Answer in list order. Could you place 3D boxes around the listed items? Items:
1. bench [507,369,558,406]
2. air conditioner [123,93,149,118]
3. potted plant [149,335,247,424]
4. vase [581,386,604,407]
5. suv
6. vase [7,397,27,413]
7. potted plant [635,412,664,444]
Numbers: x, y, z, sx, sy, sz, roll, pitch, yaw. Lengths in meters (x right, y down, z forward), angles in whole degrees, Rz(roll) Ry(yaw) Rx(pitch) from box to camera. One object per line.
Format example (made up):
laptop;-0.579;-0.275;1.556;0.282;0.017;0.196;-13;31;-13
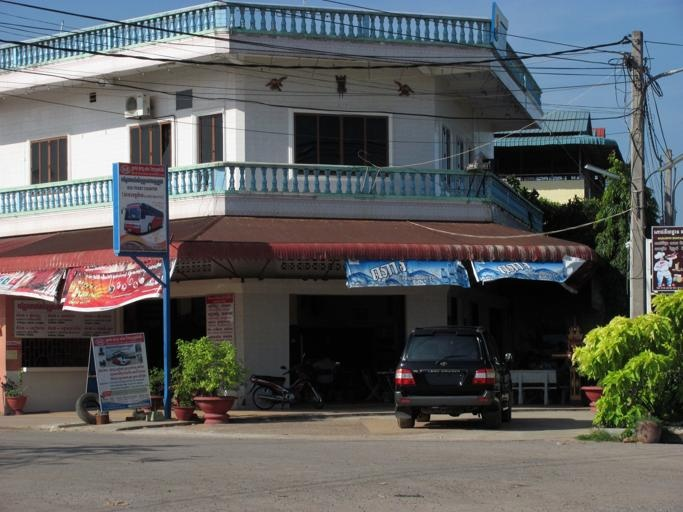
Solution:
bench;5.272;3.748;32.506;1.373;1.024;0.531;-2;-8;27
air conditioner;-6.091;-4.461;34.349;0.817;0.671;0.378;-4;-6;13
potted plant;-3.431;3.122;28.860;1.753;2.134;0.766;-4;-6;14
vase;6.310;3.592;29.252;0.387;0.545;1.130;-3;-7;5
suv;2.555;2.845;26.962;2.762;2.448;1.780;-2;-6;-10
vase;-9.049;4.162;32.305;0.443;0.357;0.451;0;-10;-4
potted plant;6.579;3.774;24.869;0.630;0.527;0.451;3;-8;-43
